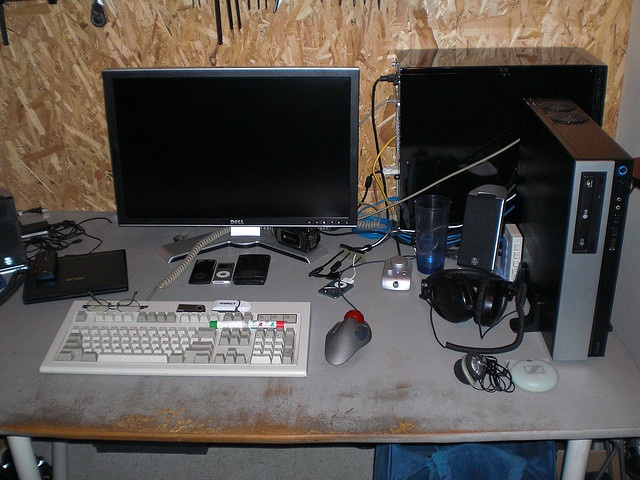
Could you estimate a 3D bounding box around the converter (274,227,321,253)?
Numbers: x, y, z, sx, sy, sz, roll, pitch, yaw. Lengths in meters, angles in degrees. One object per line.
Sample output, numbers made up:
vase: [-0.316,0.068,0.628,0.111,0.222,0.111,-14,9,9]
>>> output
converter: [-0.088,-0.020,1.812,0.116,0.064,0.078,12,23,26]

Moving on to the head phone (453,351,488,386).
head phone: [0.378,0.324,1.336,0.060,0.085,0.063,17,-8,-7]
